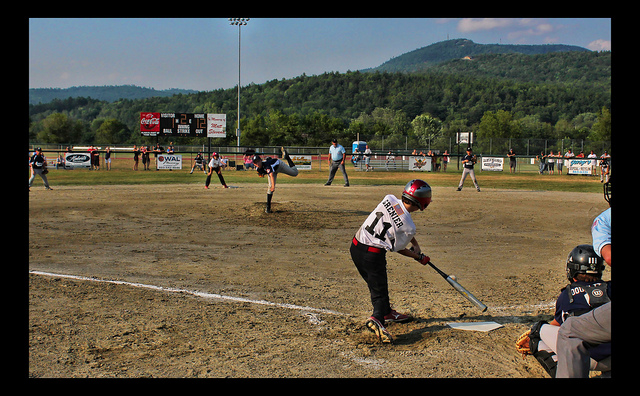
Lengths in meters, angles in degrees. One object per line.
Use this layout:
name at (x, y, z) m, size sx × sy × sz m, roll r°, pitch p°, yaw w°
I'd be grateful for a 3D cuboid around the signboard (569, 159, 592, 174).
signboard at (15.248, -1.830, 38.377) m, size 0.863 × 0.618 × 0.041 m, roll -2°, pitch 0°, yaw 28°

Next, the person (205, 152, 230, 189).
person at (-4.131, -1.109, 26.404) m, size 0.914 × 1.534 × 0.887 m, roll 0°, pitch 16°, yaw -7°

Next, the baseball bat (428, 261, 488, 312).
baseball bat at (2.538, 1.660, 12.091) m, size 1.282 × 0.153 × 0.143 m, roll 42°, pitch 4°, yaw 25°

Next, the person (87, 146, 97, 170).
person at (-13.814, -2.373, 40.130) m, size 0.451 × 1.245 × 1.245 m, roll -2°, pitch 8°, yaw -23°

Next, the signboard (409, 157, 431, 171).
signboard at (6.493, -2.239, 42.538) m, size 1.608 × 0.882 × 0.328 m, roll 6°, pitch 9°, yaw 36°

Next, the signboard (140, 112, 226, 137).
signboard at (-10.159, -5.417, 48.994) m, size 5.709 × 1.676 × 2.207 m, roll 3°, pitch 7°, yaw 14°

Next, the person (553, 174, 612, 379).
person at (3.737, 1.166, 9.228) m, size 0.738 × 2.972 × 0.735 m, roll 3°, pitch 8°, yaw 20°

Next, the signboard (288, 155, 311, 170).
signboard at (-1.124, -2.144, 40.025) m, size 1.188 × 0.794 × 2.887 m, roll 1°, pitch 7°, yaw -2°

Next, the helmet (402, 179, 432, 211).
helmet at (1.580, -0.076, 10.462) m, size 0.386 × 0.463 × 0.520 m, roll 25°, pitch 16°, yaw 32°

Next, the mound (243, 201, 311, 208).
mound at (-1.272, 0.211, 20.698) m, size 2.050 × 0.074 × 1.808 m, roll 2°, pitch 7°, yaw 7°
